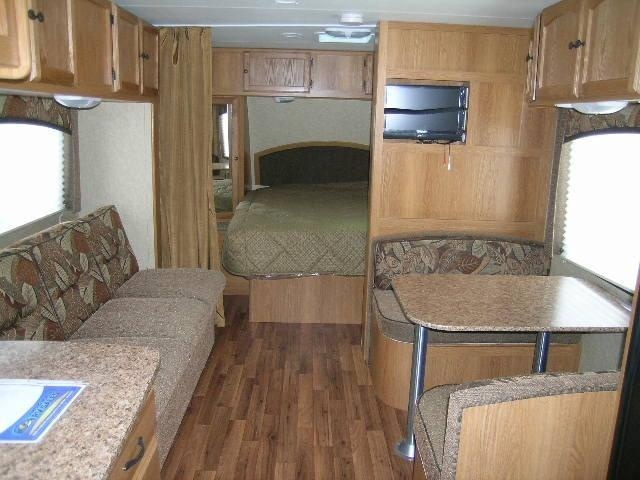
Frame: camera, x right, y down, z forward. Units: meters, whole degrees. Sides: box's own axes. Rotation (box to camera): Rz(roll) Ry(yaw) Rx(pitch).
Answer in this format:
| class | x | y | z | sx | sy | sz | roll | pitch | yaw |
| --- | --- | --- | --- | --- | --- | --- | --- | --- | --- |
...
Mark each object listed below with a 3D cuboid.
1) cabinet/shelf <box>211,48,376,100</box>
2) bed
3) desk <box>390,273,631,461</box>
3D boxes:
| class | x | y | z | sx | sy | sz | roll | pitch | yaw |
| --- | --- | --- | --- | --- | --- | --- | --- | --- | --- |
| cabinet/shelf | -0.260 | -1.547 | 4.503 | 1.467 | 0.417 | 0.157 | 3 | 16 | 5 |
| bed | -0.170 | -0.353 | 4.716 | 1.129 | 0.689 | 1.767 | 0 | 16 | 0 |
| desk | 0.936 | 0.789 | 2.578 | 1.271 | 0.646 | 0.949 | -1 | 12 | -2 |
